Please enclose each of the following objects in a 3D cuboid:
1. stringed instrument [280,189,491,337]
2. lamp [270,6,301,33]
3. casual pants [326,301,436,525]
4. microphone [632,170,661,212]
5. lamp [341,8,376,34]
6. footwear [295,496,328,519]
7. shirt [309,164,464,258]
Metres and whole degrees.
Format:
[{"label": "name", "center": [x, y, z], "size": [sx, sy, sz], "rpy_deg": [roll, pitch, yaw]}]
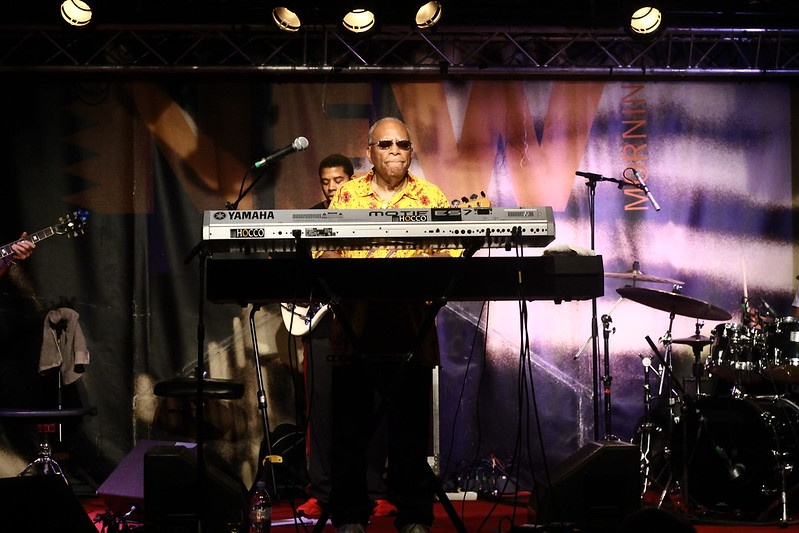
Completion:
[{"label": "stringed instrument", "center": [-0.135, -0.021, 8.106], "size": [1.225, 0.467, 0.170], "rpy_deg": [-23, -4, 10]}, {"label": "lamp", "center": [-1.058, -2.306, 10.142], "size": [0.264, 0.203, 0.220], "rpy_deg": [0, -3, 3]}, {"label": "casual pants", "center": [-0.112, 1.119, 8.059], "size": [0.811, 1.702, 0.342], "rpy_deg": [0, -3, -4]}, {"label": "microphone", "center": [2.362, -0.710, 10.414], "size": [0.067, 0.490, 0.086], "rpy_deg": [15, -45, -32]}, {"label": "lamp", "center": [-0.364, -2.242, 9.988], "size": [0.316, 0.210, 0.135], "rpy_deg": [-1, -3, 16]}, {"label": "footwear", "center": [-0.768, 2.068, 9.275], "size": [0.234, 0.208, 0.446], "rpy_deg": [4, -12, -3]}, {"label": "shirt", "center": [-0.072, -0.485, 8.443], "size": [1.270, 1.078, 0.571], "rpy_deg": [1, -22, 1]}]
